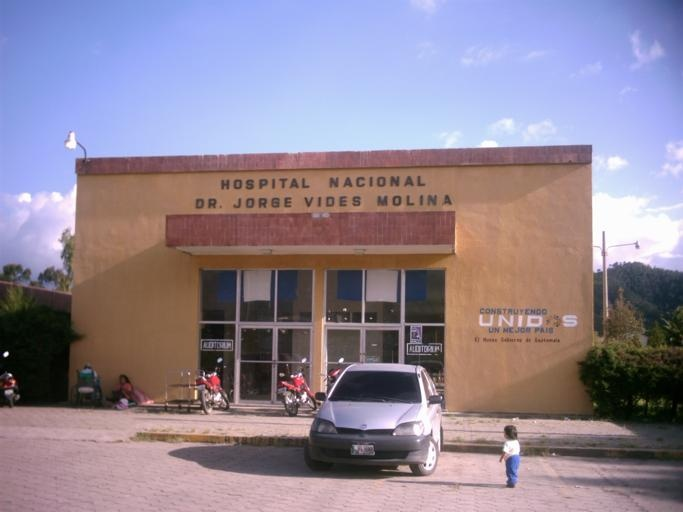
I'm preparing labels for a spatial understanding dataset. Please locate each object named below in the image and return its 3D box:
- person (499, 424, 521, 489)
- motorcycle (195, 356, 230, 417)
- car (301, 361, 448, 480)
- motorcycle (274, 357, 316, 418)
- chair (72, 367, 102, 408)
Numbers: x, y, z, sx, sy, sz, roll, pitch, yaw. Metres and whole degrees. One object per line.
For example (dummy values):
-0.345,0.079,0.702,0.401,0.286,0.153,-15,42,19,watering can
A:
3.585,4.070,16.759,0.389,1.267,1.792,1,2,13,person
-3.944,4.025,23.964,0.857,1.481,2.275,-11,-8,3,motorcycle
0.711,3.591,17.137,2.980,2.064,2.127,1,2,-7,car
-1.240,3.982,23.395,0.817,1.349,2.002,-20,-13,24,motorcycle
-7.721,3.995,24.291,0.843,1.297,0.497,0,3,-22,chair
